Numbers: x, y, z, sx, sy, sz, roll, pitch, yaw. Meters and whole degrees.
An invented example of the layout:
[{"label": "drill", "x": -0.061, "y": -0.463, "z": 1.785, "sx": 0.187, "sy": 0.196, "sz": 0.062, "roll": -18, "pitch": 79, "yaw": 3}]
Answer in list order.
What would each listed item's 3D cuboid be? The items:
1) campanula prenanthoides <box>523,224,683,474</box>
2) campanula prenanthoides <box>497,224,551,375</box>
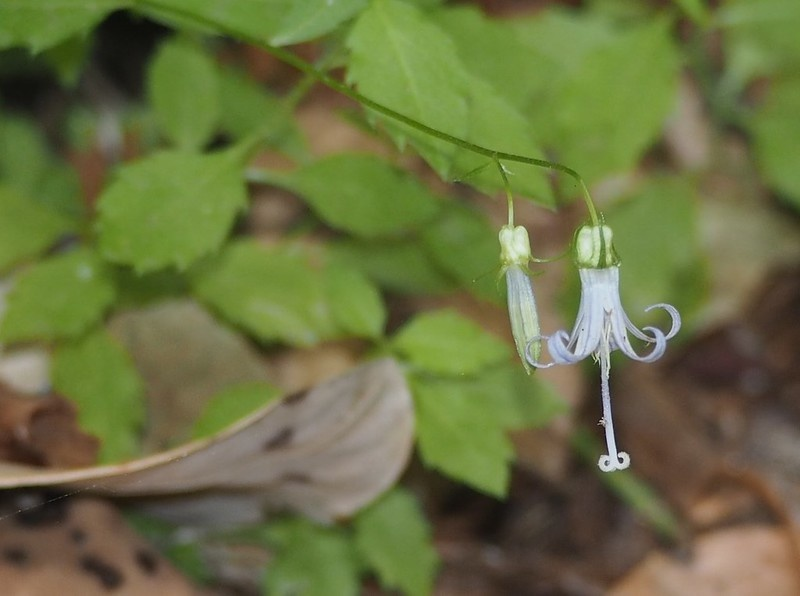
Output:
[{"label": "campanula prenanthoides", "x": 0.258, "y": 0.070, "z": 1.427, "sx": 0.176, "sy": 0.177, "sz": 0.325, "roll": -8, "pitch": 95, "yaw": -21}, {"label": "campanula prenanthoides", "x": 0.158, "y": -0.010, "z": 1.431, "sx": 0.056, "sy": 0.073, "sz": 0.193, "roll": -14, "pitch": 103, "yaw": -29}]
